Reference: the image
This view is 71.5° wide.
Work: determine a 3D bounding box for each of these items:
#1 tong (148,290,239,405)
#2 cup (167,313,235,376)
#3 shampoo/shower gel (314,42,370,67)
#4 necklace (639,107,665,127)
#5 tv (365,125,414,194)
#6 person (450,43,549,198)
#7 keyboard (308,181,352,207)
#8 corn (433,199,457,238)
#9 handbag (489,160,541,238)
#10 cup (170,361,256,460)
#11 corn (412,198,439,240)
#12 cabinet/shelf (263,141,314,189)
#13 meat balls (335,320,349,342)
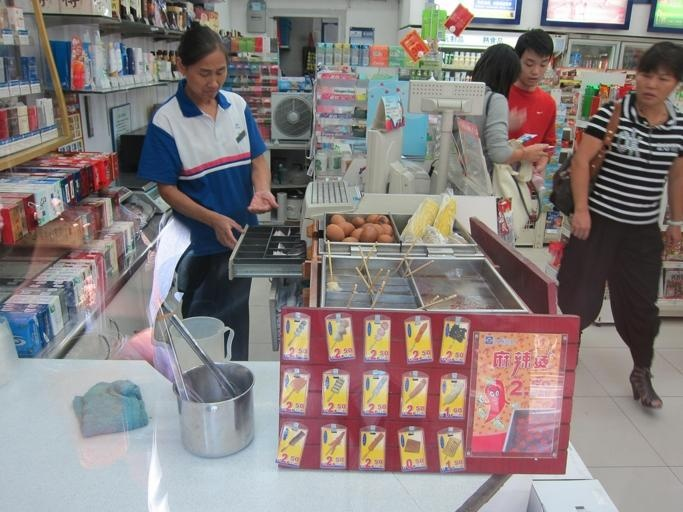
[{"bbox_3d":[-0.370,0.207,1.268,0.270,0.286,0.170,12,34,-23],"label":"tong"},{"bbox_3d":[-0.404,0.259,1.417,0.191,0.152,0.151,5,18,-11],"label":"cup"},{"bbox_3d":[0.009,-2.469,5.858,0.623,0.224,0.219,-3,22,-10],"label":"shampoo/shower gel"},{"bbox_3d":[1.827,-0.800,2.786,0.103,0.087,0.028,-1,8,6],"label":"necklace"},{"bbox_3d":[0.234,-0.518,2.630,0.199,0.340,0.315,2,22,3],"label":"tv"},{"bbox_3d":[0.898,-0.794,2.765,0.628,0.807,1.125,10,24,21],"label":"person"},{"bbox_3d":[-0.069,-0.315,2.427,0.158,0.051,0.249,1,31,-4],"label":"keyboard"},{"bbox_3d":[0.460,-0.161,2.032,0.041,0.113,0.187,17,51,3],"label":"corn"},{"bbox_3d":[0.976,-0.345,2.681,0.196,0.384,0.398,-10,26,25],"label":"handbag"},{"bbox_3d":[-0.324,0.378,1.246,0.193,0.173,0.211,0,19,0],"label":"cup"},{"bbox_3d":[0.335,-0.148,1.885,0.035,0.159,0.100,8,-25,50],"label":"corn"},{"bbox_3d":[-0.744,-1.310,6.737,0.789,0.619,0.810,-1,21,-5],"label":"cabinet/shelf"},{"bbox_3d":[0.003,0.177,1.144,0.035,0.052,0.023,0,3,0],"label":"meat balls"}]
